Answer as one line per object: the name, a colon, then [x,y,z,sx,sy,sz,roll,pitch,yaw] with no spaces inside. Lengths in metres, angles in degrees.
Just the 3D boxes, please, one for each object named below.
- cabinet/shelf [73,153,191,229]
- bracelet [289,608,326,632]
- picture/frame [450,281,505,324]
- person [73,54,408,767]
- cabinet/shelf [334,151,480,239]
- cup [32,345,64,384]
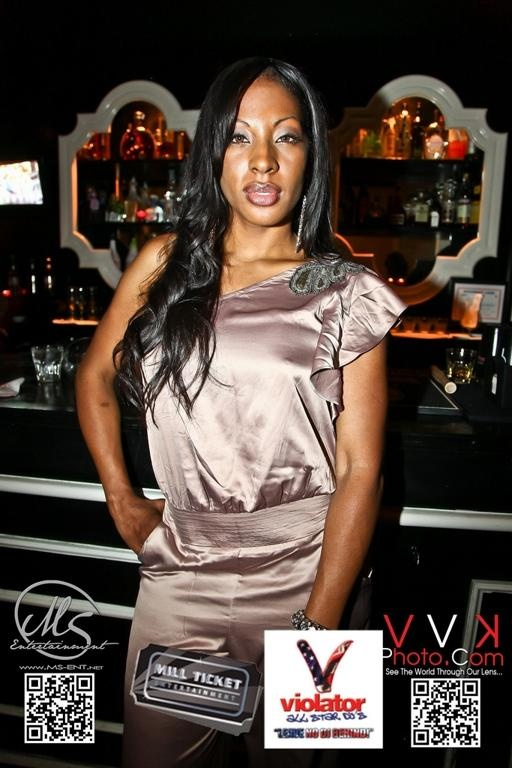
cabinet/shelf: [-0.689,-1.136,3.675,0.677,0.374,0.205,6,14,18]
bracelet: [0.090,0.421,1.092,0.065,0.033,0.023,13,15,40]
picture/frame: [1.216,-0.459,3.376,0.301,0.267,0.028,6,11,8]
person: [-0.073,0.094,1.207,0.647,1.377,0.361,6,11,9]
cabinet/shelf: [0.828,-1.041,3.435,0.805,0.392,0.213,-2,3,-6]
cup: [-0.680,-0.070,2.053,0.121,0.131,0.120,-3,1,0]
